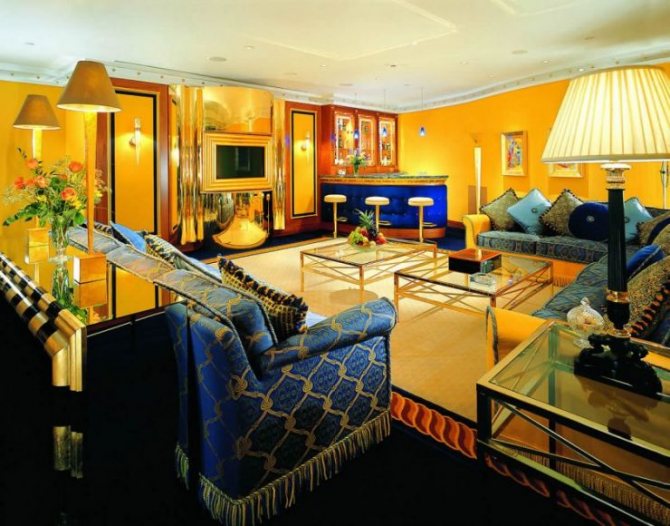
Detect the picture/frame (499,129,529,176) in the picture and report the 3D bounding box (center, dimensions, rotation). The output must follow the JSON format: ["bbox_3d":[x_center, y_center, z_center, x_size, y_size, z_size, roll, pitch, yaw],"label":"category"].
[{"bbox_3d":[2.818,-1.737,7.565,0.073,0.968,0.680,-5,7,-31],"label":"picture/frame"}]

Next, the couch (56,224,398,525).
[{"bbox_3d":[-0.486,0.543,2.235,0.432,0.475,1.198,-12,18,-42],"label":"couch"}]

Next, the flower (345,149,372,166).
[{"bbox_3d":[0.453,-2.017,9.125,0.419,0.389,0.428,-2,8,-13],"label":"flower"}]
